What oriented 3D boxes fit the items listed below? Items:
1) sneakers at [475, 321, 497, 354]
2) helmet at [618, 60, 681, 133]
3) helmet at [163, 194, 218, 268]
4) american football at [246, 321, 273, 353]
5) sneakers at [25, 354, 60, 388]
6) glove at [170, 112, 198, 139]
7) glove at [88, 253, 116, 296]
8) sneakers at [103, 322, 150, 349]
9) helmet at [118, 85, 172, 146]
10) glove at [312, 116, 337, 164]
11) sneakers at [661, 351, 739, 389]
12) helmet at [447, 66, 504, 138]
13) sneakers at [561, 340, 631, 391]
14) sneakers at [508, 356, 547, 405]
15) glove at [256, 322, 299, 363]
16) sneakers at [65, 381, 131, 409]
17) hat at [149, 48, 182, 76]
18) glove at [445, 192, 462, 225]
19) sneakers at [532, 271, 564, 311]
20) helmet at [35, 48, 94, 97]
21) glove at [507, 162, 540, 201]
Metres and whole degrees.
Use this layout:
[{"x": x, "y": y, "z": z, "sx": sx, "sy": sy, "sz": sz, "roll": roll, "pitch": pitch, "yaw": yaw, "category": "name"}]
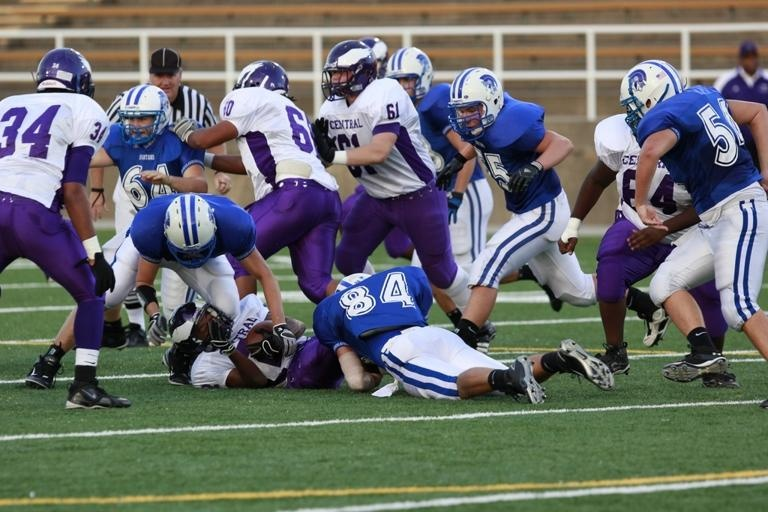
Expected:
[{"x": 0.722, "y": 0.592, "z": 7.554, "sx": 0.100, "sy": 0.132, "sz": 0.296, "roll": -42, "pitch": 9, "yaw": 24, "category": "sneakers"}, {"x": 1.617, "y": -1.036, "z": 6.563, "sx": 0.425, "sy": 0.441, "sz": 0.357, "roll": -6, "pitch": 24, "yaw": 20, "category": "helmet"}, {"x": -1.116, "y": -0.142, "z": 6.205, "sx": 0.282, "sy": 0.373, "sz": 0.334, "roll": -6, "pitch": -35, "yaw": -7, "category": "helmet"}, {"x": -0.756, "y": 0.481, "z": 6.463, "sx": 0.132, "sy": 0.181, "sz": 0.113, "roll": 30, "pitch": -19, "yaw": 37, "category": "american football"}, {"x": -2.114, "y": 0.715, "z": 6.568, "sx": 0.219, "sy": 0.194, "sz": 0.160, "roll": -6, "pitch": 10, "yaw": -28, "category": "sneakers"}, {"x": -1.359, "y": -0.881, "z": 7.179, "sx": 0.159, "sy": 0.074, "sz": 0.161, "roll": -33, "pitch": 31, "yaw": -25, "category": "glove"}, {"x": -1.597, "y": 0.104, "z": 6.026, "sx": 0.141, "sy": 0.231, "sz": 0.071, "roll": -5, "pitch": -14, "yaw": -3, "category": "glove"}, {"x": -1.912, "y": 0.580, "z": 7.722, "sx": 0.383, "sy": 0.164, "sz": 0.130, "roll": 3, "pitch": 15, "yaw": -3, "category": "sneakers"}, {"x": -1.618, "y": -0.960, "z": 7.176, "sx": 0.317, "sy": 0.380, "sz": 0.405, "roll": 3, "pitch": 15, "yaw": 20, "category": "helmet"}, {"x": -0.406, "y": -0.765, "z": 7.111, "sx": 0.155, "sy": 0.321, "sz": 0.435, "roll": -1, "pitch": 9, "yaw": -3, "category": "glove"}, {"x": 1.872, "y": 0.678, "z": 6.228, "sx": 0.377, "sy": 0.175, "sz": 0.261, "roll": -6, "pitch": -43, "yaw": 16, "category": "sneakers"}, {"x": 0.603, "y": -1.009, "z": 6.801, "sx": 0.413, "sy": 0.395, "sz": 0.308, "roll": -30, "pitch": 23, "yaw": -36, "category": "helmet"}, {"x": 1.157, "y": 0.611, "z": 5.980, "sx": 0.438, "sy": 0.194, "sz": 0.164, "roll": 41, "pitch": -2, "yaw": 6, "category": "sneakers"}, {"x": 0.826, "y": 0.661, "z": 6.020, "sx": 0.127, "sy": 0.155, "sz": 0.395, "roll": 26, "pitch": 0, "yaw": 3, "category": "sneakers"}, {"x": -0.628, "y": 0.525, "z": 6.499, "sx": 0.262, "sy": 0.190, "sz": 0.134, "roll": 17, "pitch": 35, "yaw": -48, "category": "glove"}, {"x": -1.662, "y": 0.804, "z": 6.146, "sx": 0.400, "sy": 0.171, "sz": 0.146, "roll": 1, "pitch": -2, "yaw": -6, "category": "sneakers"}, {"x": -1.709, "y": -1.532, "z": 8.301, "sx": 0.178, "sy": 0.153, "sz": 0.261, "roll": 4, "pitch": 26, "yaw": -7, "category": "hat"}, {"x": 0.566, "y": -0.374, "z": 8.407, "sx": 0.159, "sy": 0.200, "sz": 0.178, "roll": 22, "pitch": -17, "yaw": -29, "category": "glove"}, {"x": 1.276, "y": 0.278, "z": 8.238, "sx": 0.162, "sy": 0.124, "sz": 0.378, "roll": -5, "pitch": 47, "yaw": -38, "category": "sneakers"}, {"x": -1.918, "y": -1.099, "z": 6.396, "sx": 0.301, "sy": 0.335, "sz": 0.370, "roll": 9, "pitch": 14, "yaw": 28, "category": "helmet"}, {"x": 0.897, "y": -0.490, "z": 6.727, "sx": 0.211, "sy": 0.234, "sz": 0.260, "roll": 0, "pitch": 9, "yaw": 6, "category": "glove"}]
